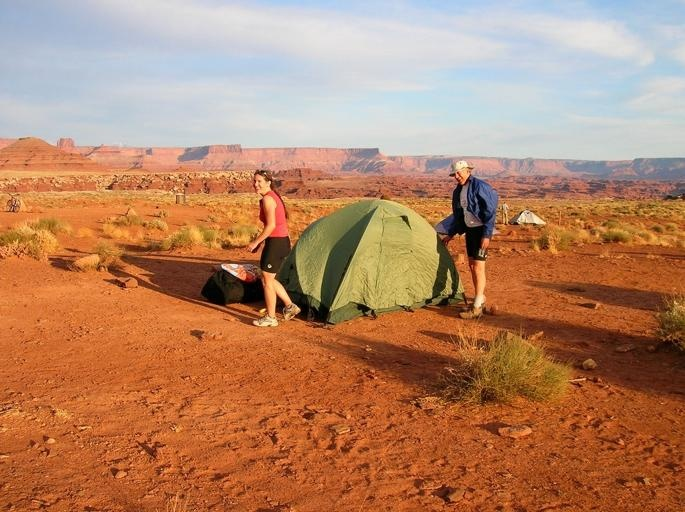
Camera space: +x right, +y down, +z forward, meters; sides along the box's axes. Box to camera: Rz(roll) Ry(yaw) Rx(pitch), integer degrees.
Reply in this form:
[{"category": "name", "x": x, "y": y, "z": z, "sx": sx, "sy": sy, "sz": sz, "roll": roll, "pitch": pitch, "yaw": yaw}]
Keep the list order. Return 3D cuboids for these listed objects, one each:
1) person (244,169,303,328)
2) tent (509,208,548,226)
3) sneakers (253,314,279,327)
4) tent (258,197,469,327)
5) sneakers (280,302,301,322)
[{"category": "person", "x": -1.033, "y": -0.054, "z": 6.595, "sx": 0.511, "sy": 2.350, "sz": 0.585, "roll": 9, "pitch": 17, "yaw": 24}, {"category": "tent", "x": 9.562, "y": -2.011, "z": 24.141, "sx": 1.273, "sy": 0.503, "sz": 1.404, "roll": -1, "pitch": 8, "yaw": -6}, {"category": "sneakers", "x": -1.148, "y": 1.012, "z": 6.850, "sx": 0.393, "sy": 0.143, "sz": 0.150, "roll": 3, "pitch": 0, "yaw": -4}, {"category": "tent", "x": 0.451, "y": -0.120, "z": 8.192, "sx": 3.095, "sy": 1.425, "sz": 2.633, "roll": -4, "pitch": 17, "yaw": -11}, {"category": "sneakers", "x": -0.807, "y": 0.903, "z": 7.070, "sx": 0.226, "sy": 0.435, "sz": 0.157, "roll": 23, "pitch": 50, "yaw": -13}]
